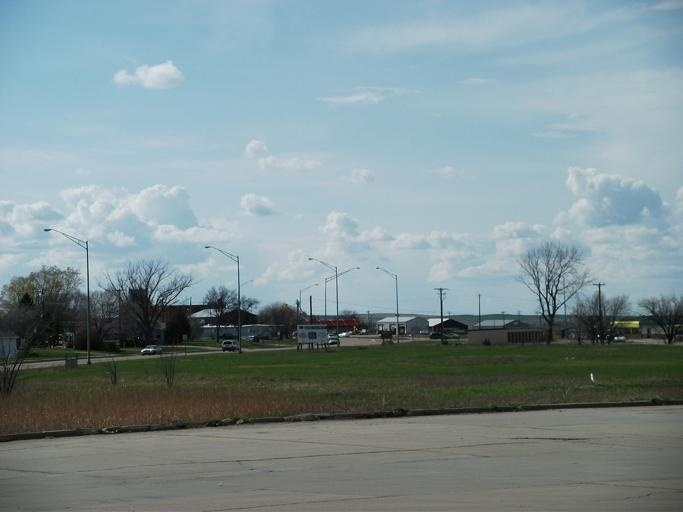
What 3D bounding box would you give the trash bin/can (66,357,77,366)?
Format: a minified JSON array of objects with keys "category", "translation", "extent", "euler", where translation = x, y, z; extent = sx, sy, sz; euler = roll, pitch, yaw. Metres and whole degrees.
[{"category":"trash bin/can","translation":[-16.492,6.446,61.216],"extent":[0.382,0.655,0.708],"euler":[1,2,23]}]
